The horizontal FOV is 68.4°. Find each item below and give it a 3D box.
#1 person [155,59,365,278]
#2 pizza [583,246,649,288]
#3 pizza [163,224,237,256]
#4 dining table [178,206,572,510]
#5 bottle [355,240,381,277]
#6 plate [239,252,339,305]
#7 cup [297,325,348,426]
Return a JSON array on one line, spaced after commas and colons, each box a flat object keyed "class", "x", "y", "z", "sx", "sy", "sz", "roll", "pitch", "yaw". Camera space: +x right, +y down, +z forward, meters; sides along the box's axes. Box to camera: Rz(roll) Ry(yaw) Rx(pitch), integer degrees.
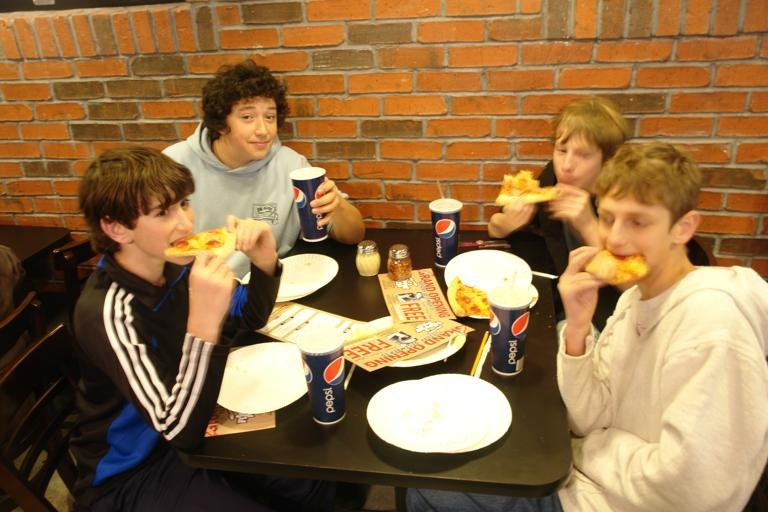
[{"class": "person", "x": -0.560, "y": -0.413, "z": 2.630, "sx": 1.042, "sy": 0.892, "sz": 0.677, "roll": -9, "pitch": 29, "yaw": -27}, {"class": "pizza", "x": 0.777, "y": 0.056, "z": 1.873, "sx": 0.137, "sy": 0.039, "sz": 0.129, "roll": -26, "pitch": 18, "yaw": 14}, {"class": "pizza", "x": -0.662, "y": -0.064, "z": 2.096, "sx": 0.203, "sy": 0.042, "sz": 0.113, "roll": -11, "pitch": 25, "yaw": -34}, {"class": "dining table", "x": 0.095, "y": 0.686, "z": 2.234, "sx": 1.121, "sy": 1.143, "sz": 1.089, "roll": 3, "pitch": 22, "yaw": 11}, {"class": "bottle", "x": -0.061, "y": 0.021, "z": 2.356, "sx": 0.115, "sy": 0.137, "sz": 0.103, "roll": -15, "pitch": 30, "yaw": -23}, {"class": "plate", "x": -0.325, "y": 0.085, "z": 2.348, "sx": 0.267, "sy": 0.048, "sz": 0.248, "roll": -15, "pitch": 31, "yaw": -30}, {"class": "cup", "x": -0.187, "y": 0.374, "z": 1.790, "sx": 0.140, "sy": 0.290, "sz": 0.159, "roll": -4, "pitch": 23, "yaw": -5}]
